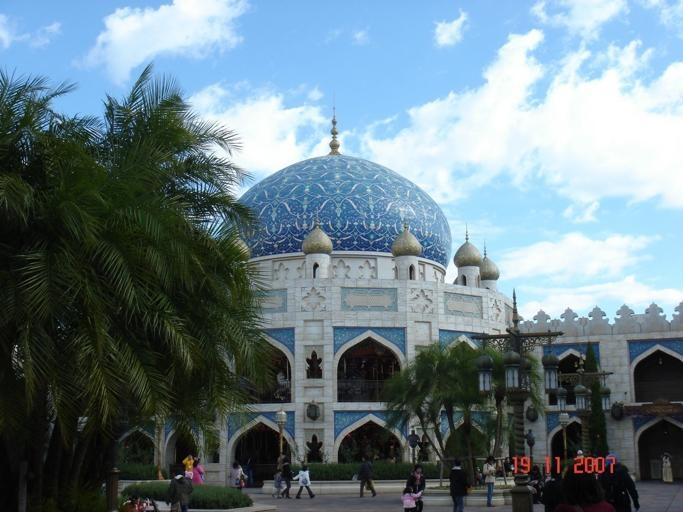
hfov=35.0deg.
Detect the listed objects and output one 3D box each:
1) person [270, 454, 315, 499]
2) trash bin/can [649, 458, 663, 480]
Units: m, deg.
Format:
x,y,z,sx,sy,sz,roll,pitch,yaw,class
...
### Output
x,y,z,sx,sy,sz,roll,pitch,yaw,class
-1.502,6.279,30.635,1.167,0.783,1.196,-7,-9,44,person
11.546,7.778,39.661,0.570,0.900,0.601,3,-8,-3,trash bin/can
